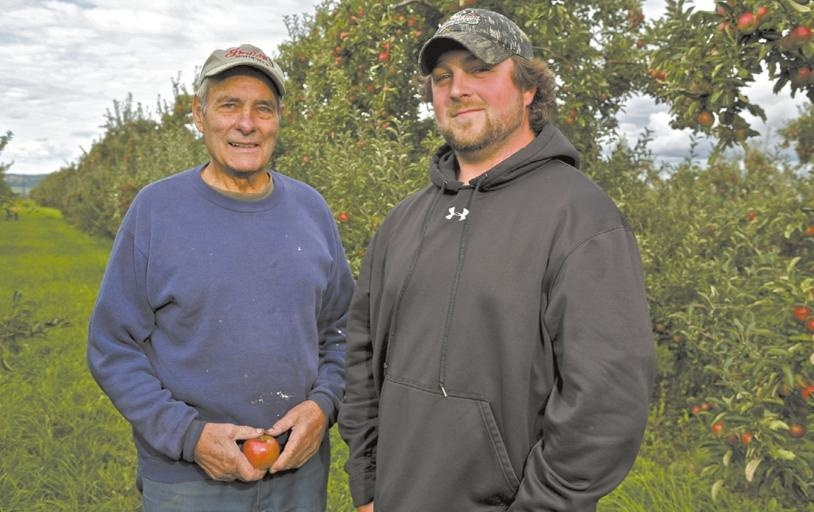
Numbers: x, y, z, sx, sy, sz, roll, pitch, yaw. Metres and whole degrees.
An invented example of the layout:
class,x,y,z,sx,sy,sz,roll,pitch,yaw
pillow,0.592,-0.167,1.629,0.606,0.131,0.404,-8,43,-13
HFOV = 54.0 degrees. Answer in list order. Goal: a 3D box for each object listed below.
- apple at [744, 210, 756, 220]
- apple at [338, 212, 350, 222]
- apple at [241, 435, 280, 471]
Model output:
class,x,y,z,sx,sy,sz,roll,pitch,yaw
apple,3.072,-0.362,7.169,0.048,0.070,0.062,19,-4,-43
apple,-0.653,-0.393,8.294,0.088,0.092,0.091,6,-8,32
apple,-1.076,1.462,5.935,0.250,0.246,0.260,-1,16,-19
